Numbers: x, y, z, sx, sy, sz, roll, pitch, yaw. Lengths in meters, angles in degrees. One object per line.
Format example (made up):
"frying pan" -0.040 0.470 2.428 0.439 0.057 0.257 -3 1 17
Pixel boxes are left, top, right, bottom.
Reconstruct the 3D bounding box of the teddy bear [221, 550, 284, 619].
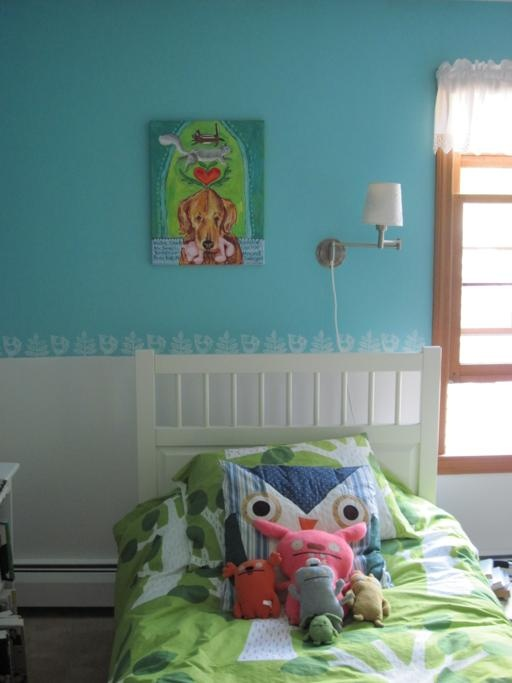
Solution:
"teddy bear" -0.013 0.586 1.553 0.138 0.118 0.120 -1 10 1

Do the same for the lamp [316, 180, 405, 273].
"lamp" 0.340 -0.379 2.138 0.277 0.290 0.128 3 14 11

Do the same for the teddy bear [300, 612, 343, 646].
"teddy bear" 0.138 0.619 1.401 0.082 0.047 0.080 -3 10 11

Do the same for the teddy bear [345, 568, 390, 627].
"teddy bear" 0.261 0.606 1.527 0.102 0.051 0.159 11 28 0
